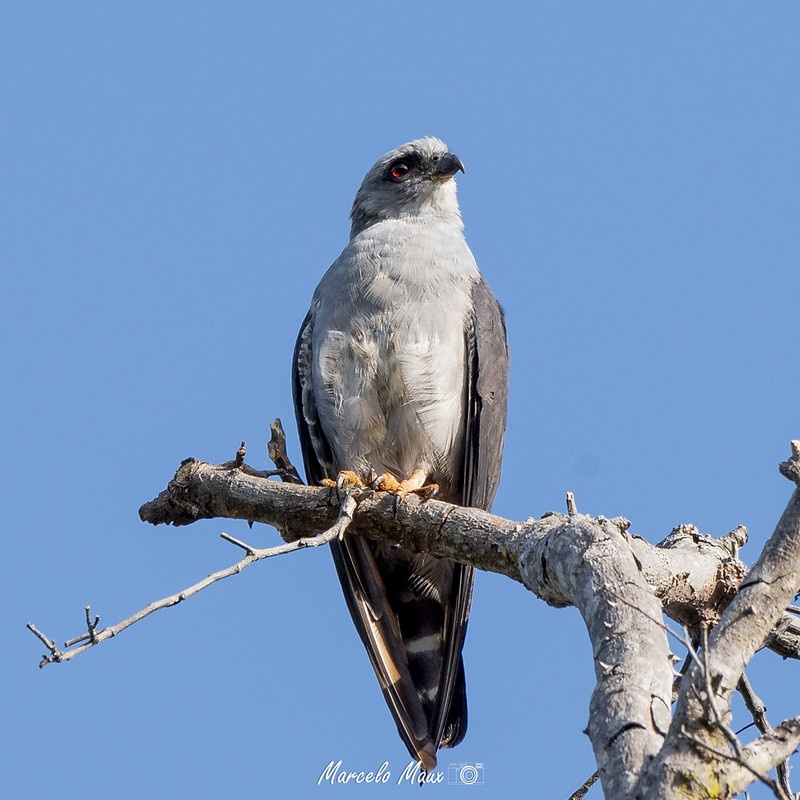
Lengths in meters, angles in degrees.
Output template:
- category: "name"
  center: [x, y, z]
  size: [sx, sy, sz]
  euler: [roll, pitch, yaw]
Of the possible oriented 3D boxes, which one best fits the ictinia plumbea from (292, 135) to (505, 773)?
- category: "ictinia plumbea"
  center: [-0.004, 0.092, 8.889]
  size: [1.071, 3.286, 1.319]
  euler: [11, -49, -5]
